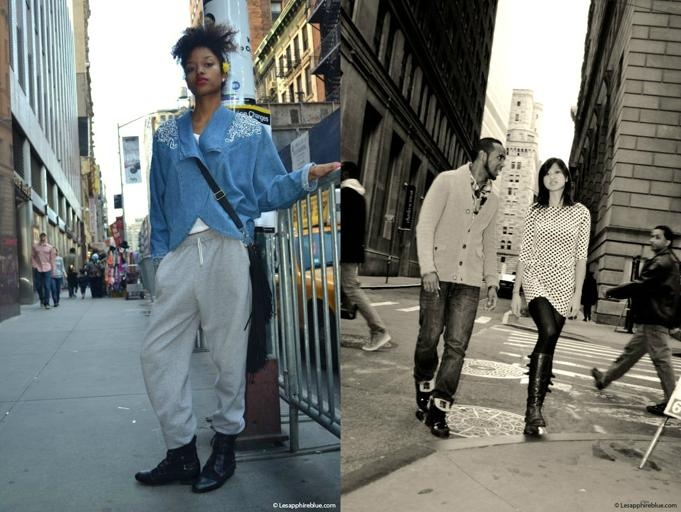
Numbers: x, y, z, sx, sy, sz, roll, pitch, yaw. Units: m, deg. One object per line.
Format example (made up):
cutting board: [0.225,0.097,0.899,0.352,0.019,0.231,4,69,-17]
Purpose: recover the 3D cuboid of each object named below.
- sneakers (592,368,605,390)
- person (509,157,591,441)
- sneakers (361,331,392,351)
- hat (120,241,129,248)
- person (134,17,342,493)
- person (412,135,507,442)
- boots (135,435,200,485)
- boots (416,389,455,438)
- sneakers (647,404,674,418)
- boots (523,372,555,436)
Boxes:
sneakers: [1.381,0.661,3.039,0.050,0.122,0.042,-11,1,-4]
person: [1.141,0.209,3.121,0.376,1.471,0.443,10,8,19]
sneakers: [0.161,0.448,2.907,0.075,0.098,0.202,-12,-4,-45]
hat: [-4.058,-0.212,10.599,0.117,0.136,0.126,-4,-8,41]
person: [-0.649,-0.020,2.996,0.833,2.384,0.606,6,8,-8]
person: [0.633,0.203,3.200,0.433,1.468,0.563,11,9,28]
boots: [-0.895,1.090,3.008,0.384,0.295,0.143,4,-6,-5]
boots: [0.519,0.857,3.054,0.092,0.194,0.263,1,1,-9]
sneakers: [1.723,0.841,3.052,0.040,0.050,0.110,8,-5,-27]
boots: [1.057,0.802,3.019,0.126,0.322,0.087,6,8,-10]
